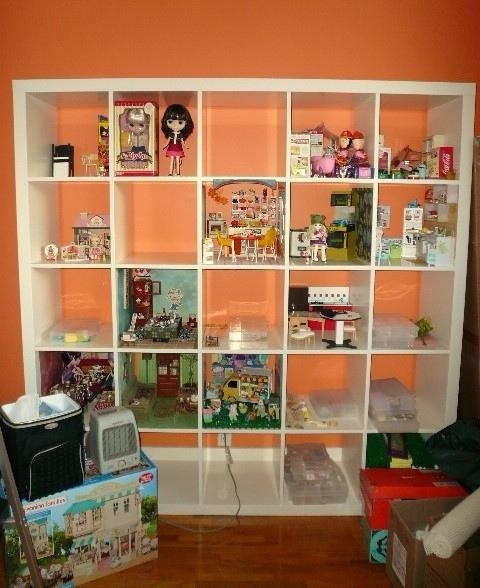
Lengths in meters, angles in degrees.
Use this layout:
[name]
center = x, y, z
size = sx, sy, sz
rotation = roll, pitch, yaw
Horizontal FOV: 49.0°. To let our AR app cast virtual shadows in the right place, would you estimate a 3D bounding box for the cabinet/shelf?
[cabinet/shelf]
center = 0.014, -0.037, 2.681
size = 2.028, 1.983, 0.607
rotation = 0, 22, 2
